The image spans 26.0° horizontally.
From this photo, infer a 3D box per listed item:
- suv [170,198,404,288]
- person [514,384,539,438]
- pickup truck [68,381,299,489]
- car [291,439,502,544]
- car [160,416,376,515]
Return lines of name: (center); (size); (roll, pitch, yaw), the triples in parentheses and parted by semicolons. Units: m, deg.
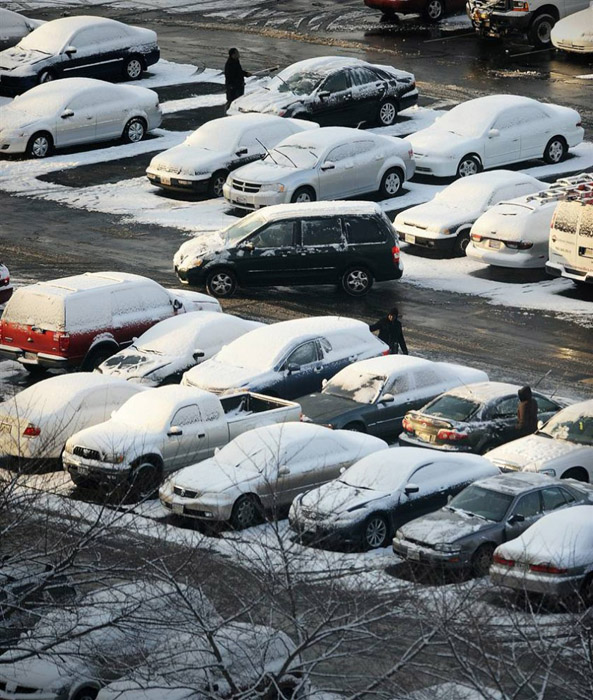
suv: (-0.215, -1.989, 24.788); (4.059, 1.398, 1.746); (-1, 13, -8)
person: (3.263, 0.877, 18.328); (0.281, 0.809, 0.365); (-2, 19, 10)
pickup truck: (-1.676, 1.058, 17.702); (3.002, 1.016, 1.338); (-16, 17, -37)
car: (1.319, 1.772, 16.682); (3.107, 0.939, 1.276); (-9, 13, -39)
car: (-0.220, 1.520, 17.181); (3.373, 0.996, 1.362); (-8, 12, -39)
